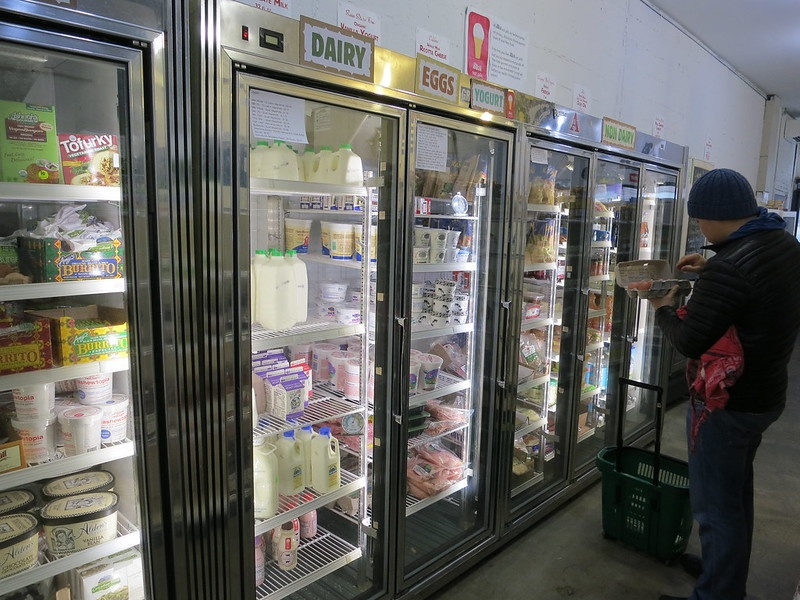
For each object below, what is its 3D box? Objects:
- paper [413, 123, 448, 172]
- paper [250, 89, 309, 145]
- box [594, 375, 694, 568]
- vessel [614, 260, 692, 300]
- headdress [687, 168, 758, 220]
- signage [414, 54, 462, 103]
[{"bbox_3d":[0.139,-0.738,2.740,0.228,0.195,0.025,-11,16,-42],"label":"paper"},{"bbox_3d":[-0.476,-0.731,2.312,0.006,0.185,0.278,16,16,41],"label":"paper"},{"bbox_3d":[1.499,0.967,3.467,0.595,1.086,0.388,9,16,42],"label":"box"},{"bbox_3d":[1.361,-0.102,3.080,0.321,0.164,0.257,-1,17,-18],"label":"vessel"},{"bbox_3d":[1.551,-0.525,2.832,0.274,0.218,0.278,-11,17,-26],"label":"headdress"},{"bbox_3d":[0.183,-1.029,2.692,0.299,0.184,0.019,-9,16,-41],"label":"signage"}]
